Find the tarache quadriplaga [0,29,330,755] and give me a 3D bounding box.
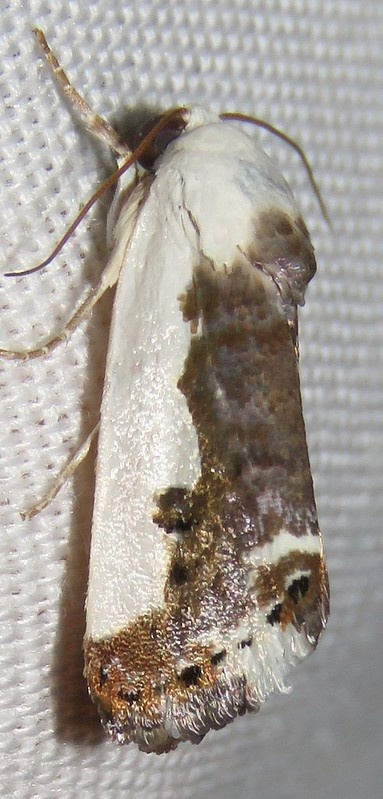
[{"bbox_3d":[-0.030,0.010,0.902,0.297,0.130,0.496,-2,93,-44],"label":"tarache quadriplaga"}]
